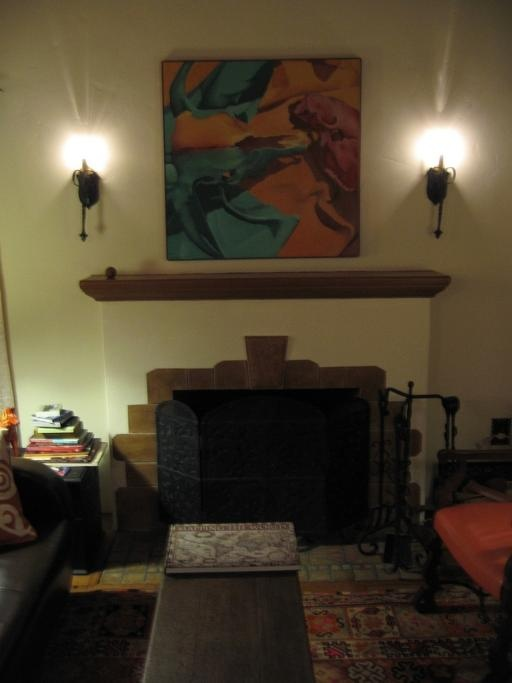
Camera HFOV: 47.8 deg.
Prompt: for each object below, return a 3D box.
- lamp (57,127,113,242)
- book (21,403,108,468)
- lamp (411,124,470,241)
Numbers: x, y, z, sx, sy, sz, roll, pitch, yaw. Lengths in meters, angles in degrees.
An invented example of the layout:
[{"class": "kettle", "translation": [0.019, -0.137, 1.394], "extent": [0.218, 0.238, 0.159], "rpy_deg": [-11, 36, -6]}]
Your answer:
[{"class": "lamp", "translation": [-0.791, -0.727, 2.709], "extent": [0.221, 0.502, 0.099], "rpy_deg": [-3, 12, -11]}, {"class": "book", "translation": [-0.909, 0.418, 2.654], "extent": [0.285, 0.128, 0.287], "rpy_deg": [1, 1, 6]}, {"class": "lamp", "translation": [0.862, -0.749, 2.711], "extent": [0.234, 0.521, 0.098], "rpy_deg": [1, 12, 11]}]
